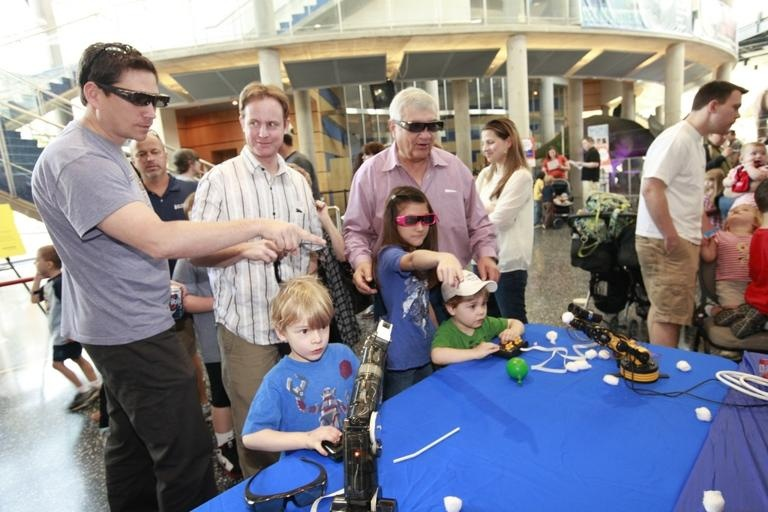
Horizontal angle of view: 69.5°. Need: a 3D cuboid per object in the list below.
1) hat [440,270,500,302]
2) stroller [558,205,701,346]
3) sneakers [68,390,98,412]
[{"bbox_3d":[0.543,0.211,3.515,0.283,0.156,0.194,-28,-6,40],"label":"hat"},{"bbox_3d":[2.330,0.090,5.086,1.481,1.210,1.203,3,8,-44],"label":"stroller"},{"bbox_3d":[-2.808,1.359,5.197,0.112,0.125,0.307,9,4,-2],"label":"sneakers"}]
